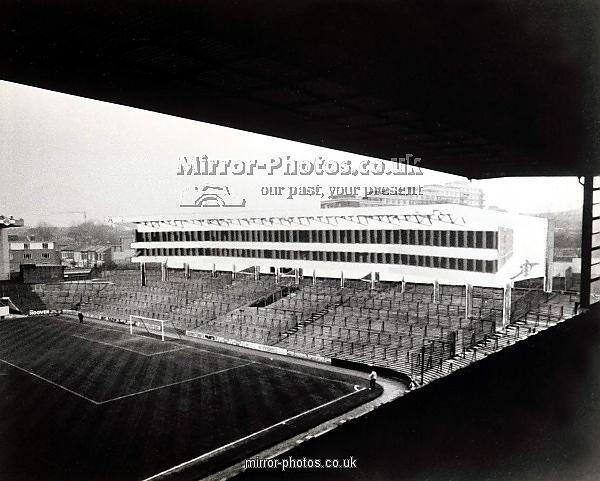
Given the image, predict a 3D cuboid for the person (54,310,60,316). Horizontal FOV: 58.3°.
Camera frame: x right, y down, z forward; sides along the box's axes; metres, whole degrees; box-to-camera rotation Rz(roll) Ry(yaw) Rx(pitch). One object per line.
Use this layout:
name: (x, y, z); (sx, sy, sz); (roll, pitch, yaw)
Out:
person: (-29.630, 8.742, 65.214); (0.496, 0.929, 0.487); (3, -28, -31)
